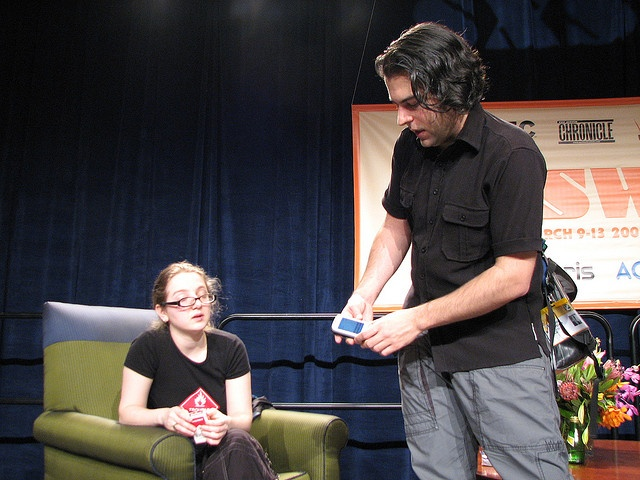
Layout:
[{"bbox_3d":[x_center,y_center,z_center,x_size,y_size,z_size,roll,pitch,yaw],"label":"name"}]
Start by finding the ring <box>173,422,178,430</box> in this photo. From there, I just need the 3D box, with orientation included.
[{"bbox_3d":[-0.565,0.732,2.224,0.021,0.029,0.010,-2,-3,39],"label":"ring"}]

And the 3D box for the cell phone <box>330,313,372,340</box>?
[{"bbox_3d":[0.098,0.303,1.998,0.115,0.024,0.067,15,47,22],"label":"cell phone"}]
